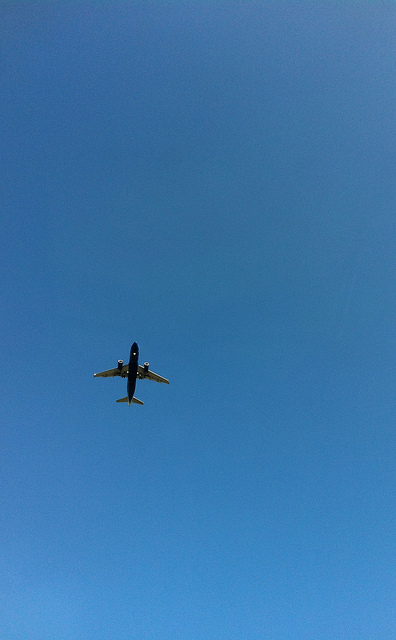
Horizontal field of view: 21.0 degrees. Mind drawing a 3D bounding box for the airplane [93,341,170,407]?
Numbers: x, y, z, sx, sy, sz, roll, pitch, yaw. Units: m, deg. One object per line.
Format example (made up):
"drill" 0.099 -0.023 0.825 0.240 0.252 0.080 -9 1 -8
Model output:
"airplane" -3.834 3.119 61.271 4.130 1.560 5.009 4 -95 -4
